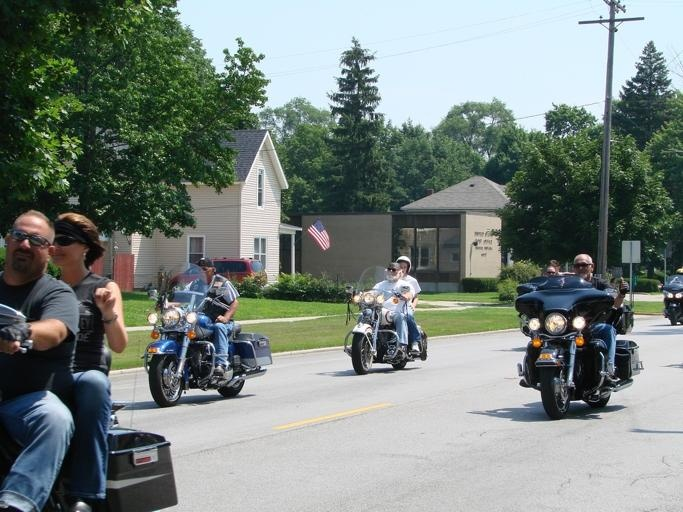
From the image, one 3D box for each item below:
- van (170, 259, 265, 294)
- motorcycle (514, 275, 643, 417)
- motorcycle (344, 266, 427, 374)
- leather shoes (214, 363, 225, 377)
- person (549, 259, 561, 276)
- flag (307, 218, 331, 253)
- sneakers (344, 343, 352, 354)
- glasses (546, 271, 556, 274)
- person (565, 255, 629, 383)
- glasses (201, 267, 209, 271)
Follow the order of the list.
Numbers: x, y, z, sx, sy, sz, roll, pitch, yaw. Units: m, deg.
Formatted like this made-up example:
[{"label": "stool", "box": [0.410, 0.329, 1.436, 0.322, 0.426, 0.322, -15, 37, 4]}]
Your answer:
[{"label": "van", "box": [-3.399, 0.609, 25.140, 2.817, 1.367, 1.573, 1, -2, 3]}, {"label": "motorcycle", "box": [3.051, 1.166, 11.319, 1.185, 1.406, 2.483, -3, -5, 29]}, {"label": "motorcycle", "box": [0.857, 1.217, 16.096, 1.772, 2.129, 0.640, 0, -2, -35]}, {"label": "leather shoes", "box": [-1.863, 1.757, 12.660, 0.133, 0.177, 0.165, 10, 31, 31]}, {"label": "person", "box": [6.514, 0.318, 25.090, 0.344, 0.344, 1.085, 16, 12, 9]}, {"label": "flag", "box": [-1.203, -1.242, 44.934, 0.798, 1.589, 1.858, -1, -2, 6]}, {"label": "sneakers", "box": [0.131, 1.841, 16.027, 0.228, 0.095, 0.312, 2, 1, 5]}, {"label": "glasses", "box": [4.971, 0.373, 19.468, 0.184, 0.085, 0.499, -1, -2, 14]}, {"label": "person", "box": [3.649, 0.919, 12.015, 0.971, 1.309, 2.506, -10, -24, 20]}, {"label": "glasses", "box": [-2.108, 0.205, 12.744, 0.064, 0.047, 0.105, -5, 24, -1]}]
